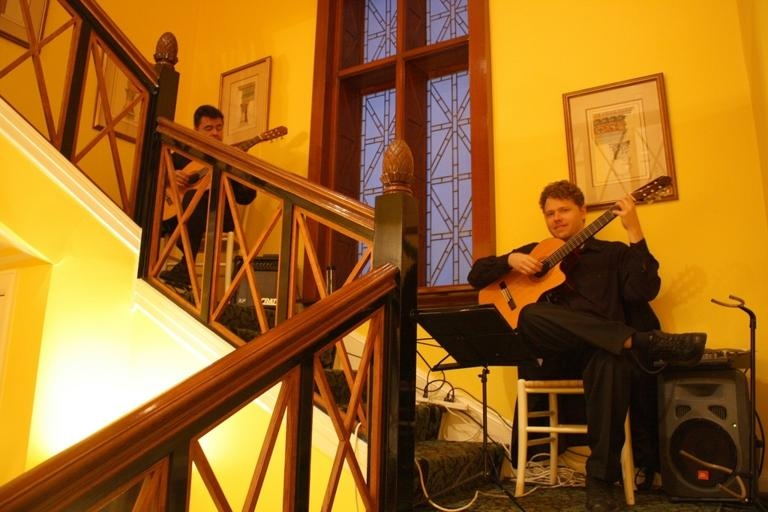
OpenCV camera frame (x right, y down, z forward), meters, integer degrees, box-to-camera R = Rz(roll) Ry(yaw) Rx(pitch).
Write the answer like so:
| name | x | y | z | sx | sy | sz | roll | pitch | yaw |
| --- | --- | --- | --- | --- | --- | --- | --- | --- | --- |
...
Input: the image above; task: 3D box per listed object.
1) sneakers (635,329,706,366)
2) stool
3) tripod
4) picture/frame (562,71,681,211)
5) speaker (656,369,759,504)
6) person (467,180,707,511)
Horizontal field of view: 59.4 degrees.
| name | x | y | z | sx | sy | sz | roll | pitch | yaw |
| --- | --- | --- | --- | --- | --- | --- | --- | --- | --- |
| sneakers | 1.500 | 0.483 | 3.565 | 0.358 | 0.171 | 0.209 | -7 | -14 | 21 |
| stool | 1.161 | 0.943 | 3.996 | 0.595 | 0.808 | 0.802 | -6 | -12 | 32 |
| tripod | 0.482 | 0.980 | 3.824 | 0.655 | 0.837 | 0.667 | 3 | -6 | -7 |
| picture/frame | 1.660 | -0.766 | 4.640 | 0.863 | 1.288 | 0.050 | -5 | -15 | 18 |
| speaker | 1.744 | 0.979 | 3.633 | 0.516 | 0.873 | 0.435 | -6 | -16 | 31 |
| person | 1.245 | 0.571 | 3.995 | 1.316 | 2.085 | 1.058 | -3 | -31 | 27 |
